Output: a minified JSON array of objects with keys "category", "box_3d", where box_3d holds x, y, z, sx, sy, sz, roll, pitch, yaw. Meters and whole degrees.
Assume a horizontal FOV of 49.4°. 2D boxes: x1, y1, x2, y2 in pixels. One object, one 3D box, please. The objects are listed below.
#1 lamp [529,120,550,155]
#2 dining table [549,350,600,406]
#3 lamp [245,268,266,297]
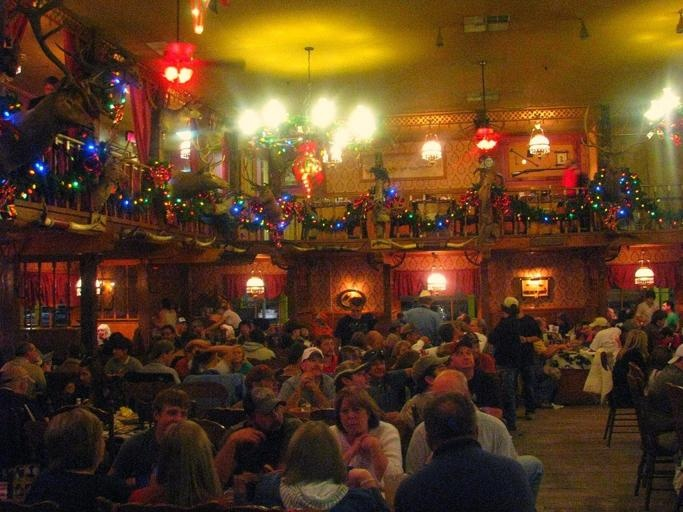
[{"category":"lamp","box_3d":[5.026,-3.013,18.742,0.514,0.780,3.387,10,5,12]},{"category":"dining table","box_3d":[4.286,2.264,13.748,0.998,1.023,0.890,-1,-4,8]},{"category":"lamp","box_3d":[-2.243,0.656,18.688,0.630,0.864,0.633,-1,0,5]}]
